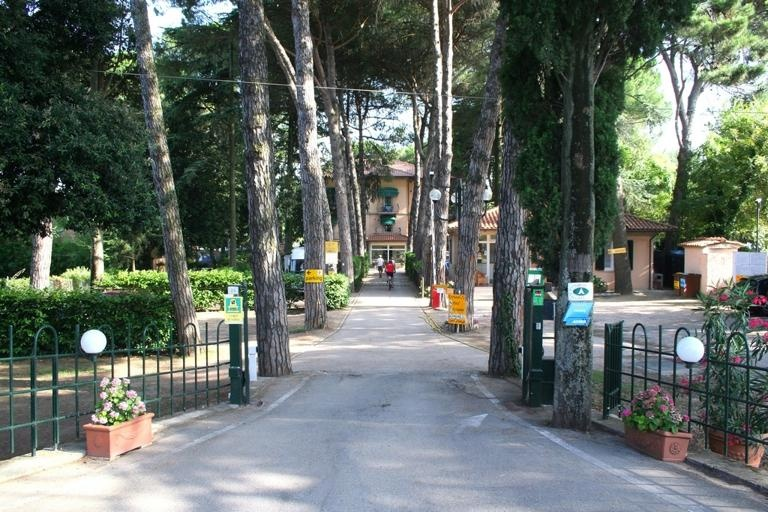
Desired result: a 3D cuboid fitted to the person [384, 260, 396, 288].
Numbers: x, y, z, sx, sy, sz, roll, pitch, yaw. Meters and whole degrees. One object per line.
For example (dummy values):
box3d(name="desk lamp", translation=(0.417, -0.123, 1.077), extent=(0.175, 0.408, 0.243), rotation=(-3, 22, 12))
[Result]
box3d(name="person", translation=(0.396, 1.148, 48.621), extent=(0.706, 1.001, 1.564), rotation=(0, -1, 3))

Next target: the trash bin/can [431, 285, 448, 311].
box3d(name="trash bin/can", translation=(2.530, 1.825, 36.369), extent=(0.846, 1.587, 0.907), rotation=(-1, -3, 7))

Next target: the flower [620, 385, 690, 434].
box3d(name="flower", translation=(5.524, 3.173, 16.881), extent=(0.884, 0.641, 0.838), rotation=(-15, -1, 26))

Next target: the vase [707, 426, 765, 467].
box3d(name="vase", translation=(7.202, 3.826, 16.648), extent=(0.794, 0.670, 0.807), rotation=(3, -5, -30))

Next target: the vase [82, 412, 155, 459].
box3d(name="vase", translation=(-5.388, 3.682, 16.550), extent=(1.318, 0.937, 0.413), rotation=(-2, 0, -26))
